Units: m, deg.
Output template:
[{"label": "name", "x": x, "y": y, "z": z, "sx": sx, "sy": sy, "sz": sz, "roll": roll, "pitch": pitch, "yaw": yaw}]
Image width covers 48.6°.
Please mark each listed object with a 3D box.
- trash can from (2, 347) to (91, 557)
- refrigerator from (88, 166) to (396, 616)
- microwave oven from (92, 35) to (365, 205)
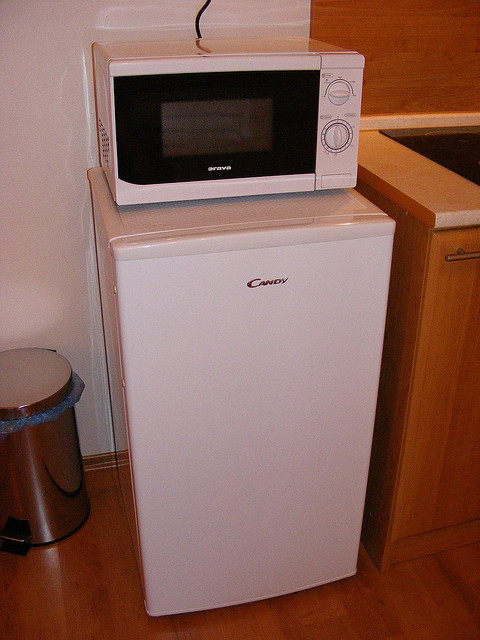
[{"label": "trash can", "x": -0.517, "y": 0.373, "z": 1.477, "sx": 0.227, "sy": 0.524, "sz": 0.268, "roll": -7, "pitch": 27, "yaw": -18}, {"label": "refrigerator", "x": 0.012, "y": 0.222, "z": 1.124, "sx": 0.517, "sy": 0.938, "sz": 0.224, "roll": -11, "pitch": 29, "yaw": -17}, {"label": "microwave oven", "x": -0.032, "y": -0.377, "z": 0.977, "sx": 0.410, "sy": 0.335, "sz": 0.349, "roll": -5, "pitch": 32, "yaw": -13}]
